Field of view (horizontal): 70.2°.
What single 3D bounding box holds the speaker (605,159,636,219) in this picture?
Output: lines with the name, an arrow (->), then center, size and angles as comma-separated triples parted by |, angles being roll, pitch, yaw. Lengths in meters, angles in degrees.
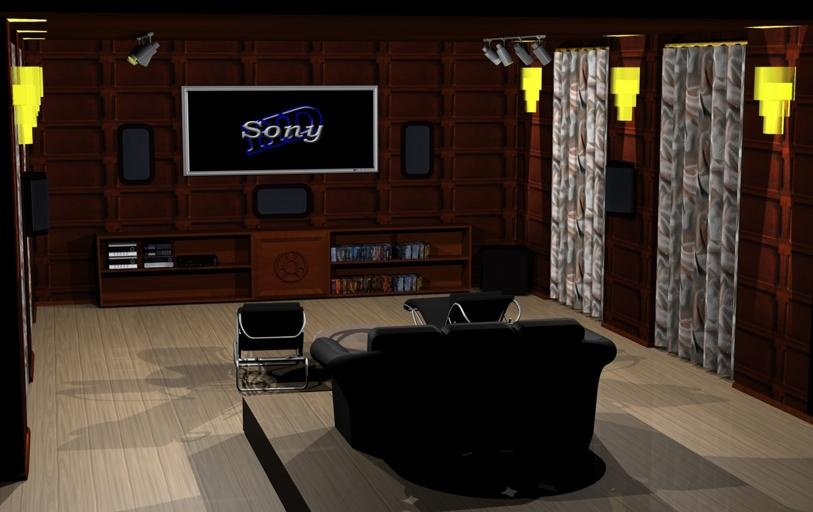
speaker -> 2.787, -0.870, 7.504 | 0.170, 0.685, 0.454 | -10, 18, -31

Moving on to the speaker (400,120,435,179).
speaker -> 0.190, -1.785, 9.760 | 0.498, 0.905, 0.222 | 0, 16, 0

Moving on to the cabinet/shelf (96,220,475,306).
cabinet/shelf -> -1.880, 0.082, 9.417 | 5.751, 0.955, 0.693 | -2, 11, -11

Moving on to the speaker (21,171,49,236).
speaker -> -3.714, -0.521, 5.794 | 0.193, 0.629, 0.677 | -7, 16, -24

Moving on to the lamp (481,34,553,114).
lamp -> 1.733, -2.861, 9.003 | 1.470, 1.253, 0.310 | -4, 7, -21

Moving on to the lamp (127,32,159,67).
lamp -> -3.491, -2.745, 7.682 | 0.358, 0.212, 0.514 | -18, -13, -44

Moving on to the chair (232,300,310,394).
chair -> -1.531, 0.958, 6.528 | 0.901, 0.907, 1.067 | 0, 7, -9

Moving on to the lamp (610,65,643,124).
lamp -> 2.774, -2.035, 7.312 | 0.329, 0.665, 0.334 | 2, 16, 9
